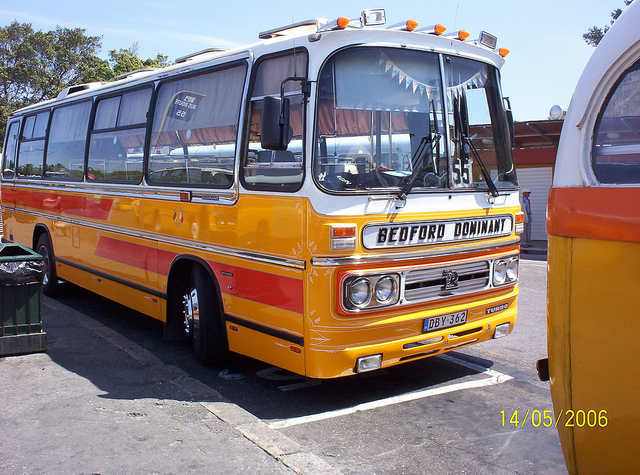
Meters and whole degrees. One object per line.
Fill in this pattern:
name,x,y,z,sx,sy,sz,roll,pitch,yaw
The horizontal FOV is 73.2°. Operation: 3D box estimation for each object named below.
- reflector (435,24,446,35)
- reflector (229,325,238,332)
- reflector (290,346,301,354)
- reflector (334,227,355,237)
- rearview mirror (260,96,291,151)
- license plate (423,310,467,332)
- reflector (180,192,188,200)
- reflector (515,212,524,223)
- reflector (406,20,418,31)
reflector,1.360,-2.303,4.767,0.144,0.101,0.119,-3,6,-29
reflector,-1.022,1.074,5.113,0.008,0.076,0.184,-4,7,-43
reflector,-0.241,1.129,4.333,0.155,0.068,0.007,5,7,44
reflector,0.233,-0.049,4.037,0.201,0.087,0.020,-2,5,-19
rearview mirror,-0.427,-1.101,4.151,0.259,0.505,0.130,-1,5,-8
license plate,1.360,0.901,4.657,0.654,0.143,0.024,-3,6,-31
reflector,-1.789,-0.542,5.693,0.078,0.107,0.145,-1,5,-35
reflector,2.514,-0.253,5.436,0.140,0.122,0.080,-1,1,-41
reflector,0.985,-2.244,4.535,0.112,0.089,0.163,-1,5,-6
